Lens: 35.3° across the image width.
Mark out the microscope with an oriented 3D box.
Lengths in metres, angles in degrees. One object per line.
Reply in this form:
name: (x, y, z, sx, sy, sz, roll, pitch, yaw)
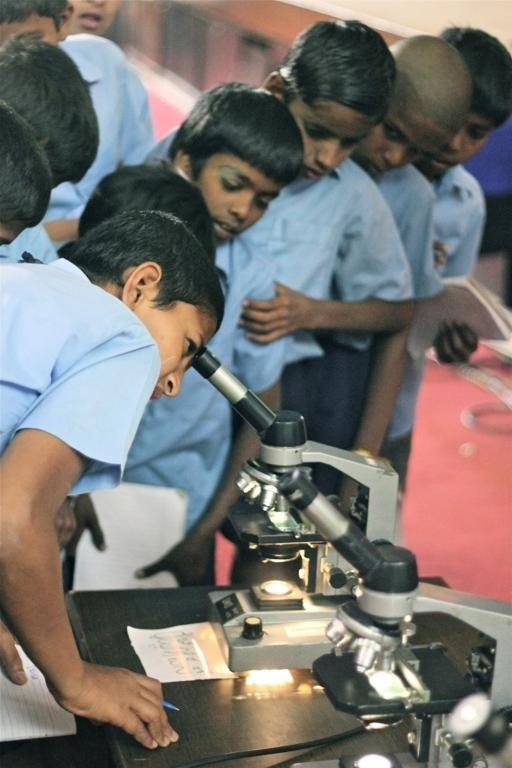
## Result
microscope: (0.074, 0.220, 1.242, 0.582, 0.586, 0.385, -4, 17, -16)
